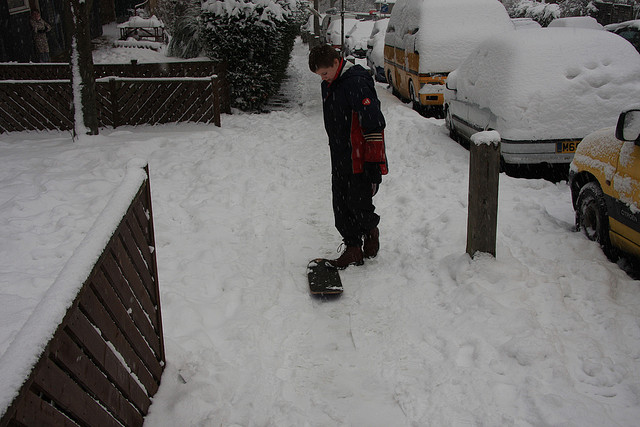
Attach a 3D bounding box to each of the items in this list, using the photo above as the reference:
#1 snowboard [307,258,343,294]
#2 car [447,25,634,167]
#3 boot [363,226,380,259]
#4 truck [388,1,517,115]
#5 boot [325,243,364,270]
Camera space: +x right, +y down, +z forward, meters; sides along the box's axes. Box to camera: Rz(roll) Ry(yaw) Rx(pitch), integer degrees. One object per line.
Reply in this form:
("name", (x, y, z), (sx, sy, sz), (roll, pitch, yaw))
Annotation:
("snowboard", (0.045, 0.683, 5.489), (0.362, 0.740, 0.102), (-10, 52, 8))
("car", (3.275, -1.706, 7.845), (1.820, 1.474, 3.067), (-9, 33, -4))
("boot", (0.627, 0.358, 5.758), (0.145, 0.392, 0.248), (-1, -7, 9))
("truck", (2.888, -3.880, 11.523), (1.879, 2.034, 4.012), (-5, 32, -4))
("boot", (0.314, 0.491, 5.731), (0.523, 0.419, 0.228), (0, 11, -4))
